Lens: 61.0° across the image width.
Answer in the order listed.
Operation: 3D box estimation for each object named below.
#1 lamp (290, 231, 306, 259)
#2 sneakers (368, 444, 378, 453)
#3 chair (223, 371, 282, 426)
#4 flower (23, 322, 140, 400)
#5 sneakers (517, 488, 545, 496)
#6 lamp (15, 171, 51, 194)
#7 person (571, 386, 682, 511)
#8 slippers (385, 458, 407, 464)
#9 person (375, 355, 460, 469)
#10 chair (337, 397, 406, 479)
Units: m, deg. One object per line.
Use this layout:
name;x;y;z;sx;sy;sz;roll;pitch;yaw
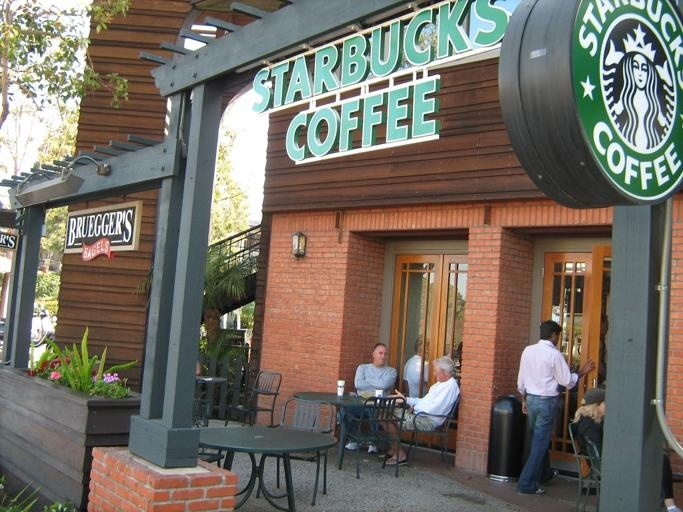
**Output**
lamp;-0.788;-0.181;10.291;0.300;0.441;0.225;-4;-10;42
sneakers;0.477;2.958;8.926;0.107;0.089;0.212;0;-4;5
chair;-1.509;2.457;9.598;0.797;1.141;0.703;11;-13;-27
flower;-2.888;1.205;6.290;0.834;0.523;0.662;14;-6;-20
sneakers;2.381;2.893;7.189;0.394;0.094;0.119;6;-8;-17
lamp;-4.136;-0.985;7.808;0.379;0.389;0.098;-10;-31;29
person;2.914;2.015;6.116;0.991;1.166;0.731;-1;-9;31
slippers;0.758;2.895;8.154;0.364;0.096;0.172;6;-11;-19
person;1.126;2.263;8.416;1.066;1.579;0.691;2;-7;10
chair;0.421;2.359;8.148;0.930;1.528;0.970;1;3;-10
